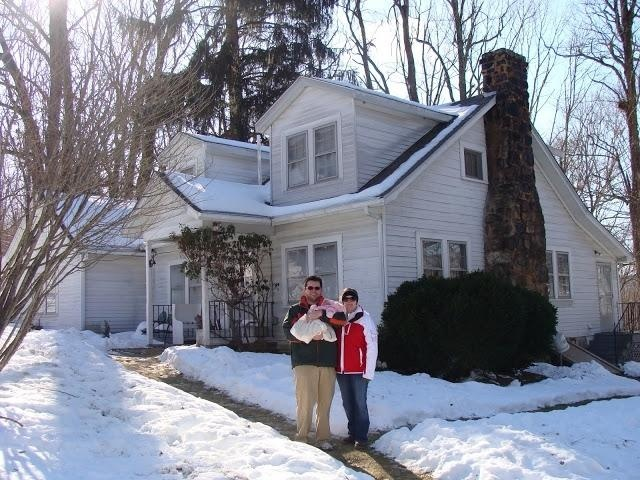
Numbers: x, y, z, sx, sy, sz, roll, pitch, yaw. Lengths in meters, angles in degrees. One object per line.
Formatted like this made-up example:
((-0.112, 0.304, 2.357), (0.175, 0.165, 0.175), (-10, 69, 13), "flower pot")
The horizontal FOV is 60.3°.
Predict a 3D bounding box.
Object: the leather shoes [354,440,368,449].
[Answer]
((0.610, 3.004, 8.089), (0.198, 0.101, 0.078), (-2, -3, -6), "leather shoes")

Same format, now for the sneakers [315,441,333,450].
((0.068, 2.923, 7.866), (0.118, 0.051, 0.134), (2, 13, -44), "sneakers")

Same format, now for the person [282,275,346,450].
((-0.081, 1.734, 7.831), (0.824, 2.443, 0.573), (4, -6, -29), "person")
